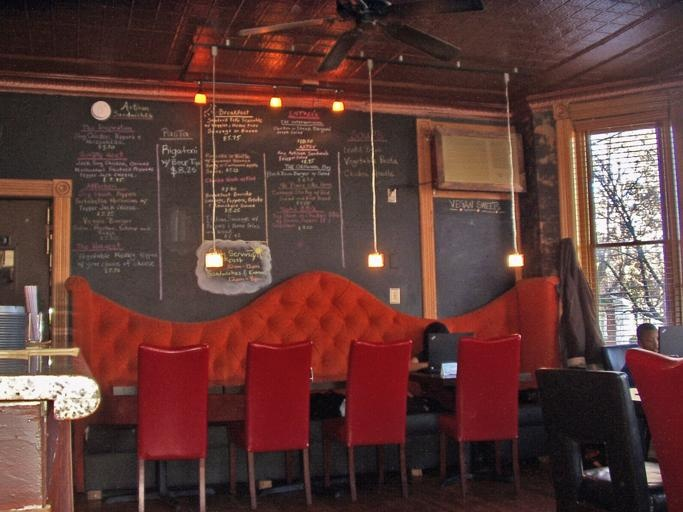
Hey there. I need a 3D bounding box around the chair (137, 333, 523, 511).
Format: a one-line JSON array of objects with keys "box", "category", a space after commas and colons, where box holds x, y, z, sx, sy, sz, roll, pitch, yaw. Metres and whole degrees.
[{"box": [-0.189, 1.197, 5.189, 2.481, 1.192, 0.608, 0, -5, -16], "category": "chair"}]

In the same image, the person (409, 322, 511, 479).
[{"box": [1.062, 1.218, 5.662, 0.848, 1.074, 0.835, 0, -8, -1], "category": "person"}]

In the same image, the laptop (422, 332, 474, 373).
[{"box": [0.917, 0.764, 6.015, 0.426, 0.402, 0.334, 1, -2, -8], "category": "laptop"}]
